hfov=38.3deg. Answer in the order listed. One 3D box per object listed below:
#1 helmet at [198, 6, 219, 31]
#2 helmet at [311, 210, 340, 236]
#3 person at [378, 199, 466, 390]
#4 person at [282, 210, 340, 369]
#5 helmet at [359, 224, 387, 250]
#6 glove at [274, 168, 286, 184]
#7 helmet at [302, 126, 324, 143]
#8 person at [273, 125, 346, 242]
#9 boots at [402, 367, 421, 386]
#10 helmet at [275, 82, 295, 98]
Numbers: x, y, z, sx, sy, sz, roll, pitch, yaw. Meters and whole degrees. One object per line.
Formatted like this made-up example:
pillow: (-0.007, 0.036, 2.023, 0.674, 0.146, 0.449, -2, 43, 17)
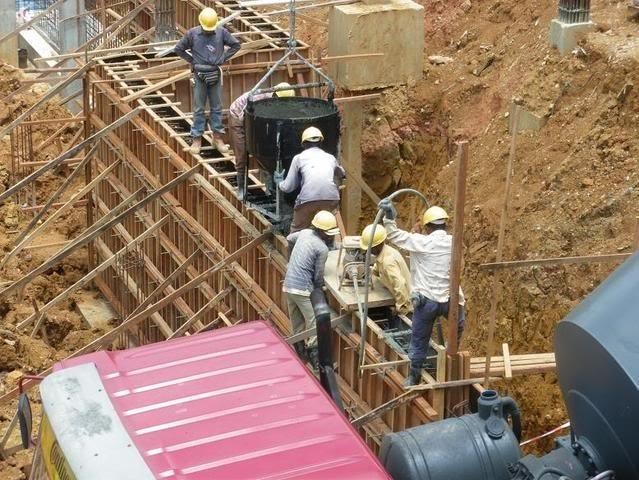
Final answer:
helmet: (-1.850, -3.680, 15.431, 0.288, 0.364, 0.433, -8, 28, -9)
helmet: (0.100, -0.244, 12.437, 0.337, 0.229, 0.274, 24, 32, 11)
person: (1.376, 0.673, 11.859, 1.052, 2.666, 0.870, -12, 25, -21)
person: (-0.087, 0.679, 12.165, 0.838, 2.229, 0.942, -22, 41, -28)
helmet: (0.702, -0.093, 11.947, 0.262, 0.186, 0.338, 14, 50, 38)
glove: (-0.584, -0.943, 13.786, 0.172, 0.257, 0.183, -1, -4, 22)
helmet: (-0.111, -1.544, 13.487, 0.195, 0.150, 0.266, -2, 15, 0)
person: (-0.184, -0.813, 13.414, 0.932, 2.045, 1.109, -7, 43, -11)
boots: (1.154, 1.689, 11.543, 0.258, 0.280, 0.135, 6, 19, -4)
helmet: (-0.559, -2.358, 14.637, 0.196, 0.162, 0.299, 3, 17, -6)
